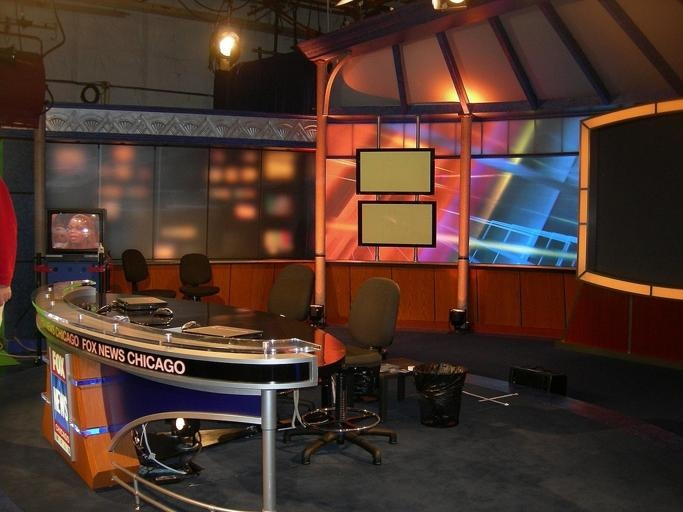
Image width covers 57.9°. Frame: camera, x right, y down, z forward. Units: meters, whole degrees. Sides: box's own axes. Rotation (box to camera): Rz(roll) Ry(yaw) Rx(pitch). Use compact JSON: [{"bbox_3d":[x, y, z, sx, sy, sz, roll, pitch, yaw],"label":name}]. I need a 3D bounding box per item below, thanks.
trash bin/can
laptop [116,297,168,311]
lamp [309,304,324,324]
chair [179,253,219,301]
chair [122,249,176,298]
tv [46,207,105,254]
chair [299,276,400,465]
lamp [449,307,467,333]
[{"bbox_3d":[0.789,1.164,5.232,0.481,0.445,0.481,-1,-2,-1],"label":"trash bin/can"},{"bbox_3d":[-1.546,0.345,4.738,0.354,0.067,0.541,-2,6,-22],"label":"laptop"},{"bbox_3d":[-0.319,0.785,8.350,0.248,0.309,0.241,0,-2,3],"label":"lamp"},{"bbox_3d":[-1.967,0.314,8.532,0.523,0.688,0.687,-1,7,-13],"label":"chair"},{"bbox_3d":[-2.481,0.197,8.028,0.850,0.734,0.522,1,1,19],"label":"chair"},{"bbox_3d":[-3.088,-0.293,7.137,0.587,0.453,0.327,1,-2,-19],"label":"tv"},{"bbox_3d":[0.041,0.839,4.938,0.903,1.355,0.911,1,3,-41],"label":"chair"},{"bbox_3d":[1.638,0.897,8.605,0.325,0.413,0.269,2,4,17],"label":"lamp"}]
